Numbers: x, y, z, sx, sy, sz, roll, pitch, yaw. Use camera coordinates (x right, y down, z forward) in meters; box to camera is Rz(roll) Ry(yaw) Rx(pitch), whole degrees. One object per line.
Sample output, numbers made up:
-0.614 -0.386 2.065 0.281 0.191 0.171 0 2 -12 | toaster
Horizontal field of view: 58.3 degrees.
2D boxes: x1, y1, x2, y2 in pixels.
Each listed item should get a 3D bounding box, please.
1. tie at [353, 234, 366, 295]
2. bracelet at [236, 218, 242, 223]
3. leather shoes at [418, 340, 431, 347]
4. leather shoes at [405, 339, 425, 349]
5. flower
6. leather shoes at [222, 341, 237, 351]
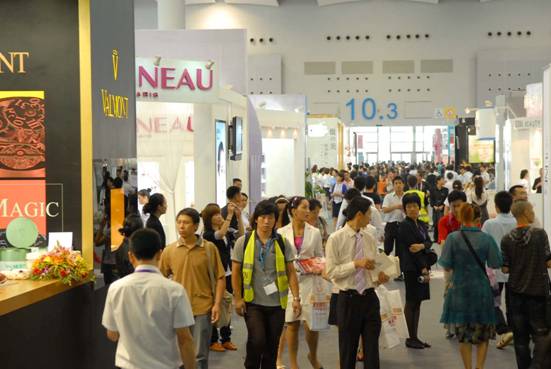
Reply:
0.765 0.716 4.491 0.108 0.531 0.150 1 2 4 | tie
-0.436 0.461 6.159 0.065 0.053 0.068 -1 1 -20 | bracelet
1.749 1.876 5.788 0.171 0.051 0.067 33 -3 -29 | leather shoes
1.627 1.876 5.776 0.180 0.071 0.089 -3 1 38 | leather shoes
-1.858 0.685 4.347 0.391 0.286 0.421 13 -7 -43 | flower
-0.534 1.904 5.834 0.180 0.079 0.069 -3 -3 35 | leather shoes
